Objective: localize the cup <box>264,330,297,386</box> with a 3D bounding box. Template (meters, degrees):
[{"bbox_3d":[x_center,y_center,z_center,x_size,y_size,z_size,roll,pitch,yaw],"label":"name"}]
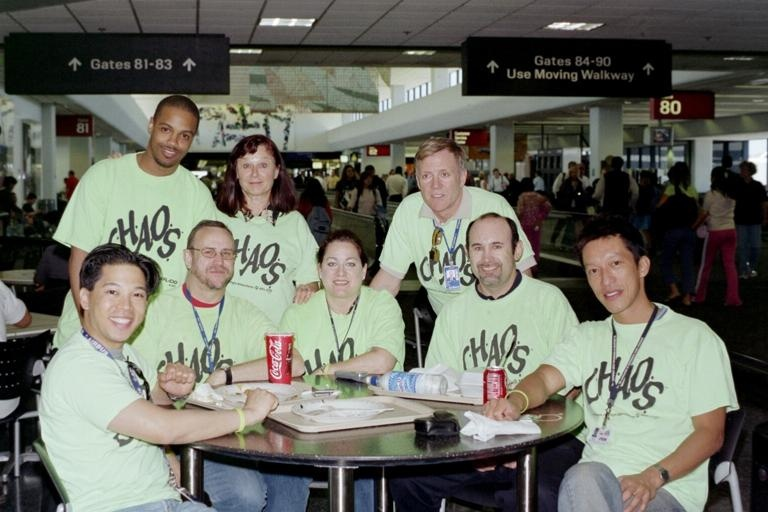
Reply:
[{"bbox_3d":[-0.516,0.492,2.776,0.127,0.247,0.217,0,2,-12],"label":"cup"}]

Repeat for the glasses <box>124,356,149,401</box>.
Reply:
[{"bbox_3d":[-1.014,0.505,2.352,0.045,0.159,0.125,-16,6,1],"label":"glasses"}]

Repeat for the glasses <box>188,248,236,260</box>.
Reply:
[{"bbox_3d":[-0.942,-0.018,3.072,0.247,0.065,0.094,0,2,-11],"label":"glasses"}]

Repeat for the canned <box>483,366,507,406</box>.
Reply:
[{"bbox_3d":[0.481,0.573,2.512,0.100,0.172,0.105,5,9,43],"label":"canned"}]

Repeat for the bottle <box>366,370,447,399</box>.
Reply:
[{"bbox_3d":[0.094,0.581,2.709,0.379,0.110,0.109,0,22,20],"label":"bottle"}]
